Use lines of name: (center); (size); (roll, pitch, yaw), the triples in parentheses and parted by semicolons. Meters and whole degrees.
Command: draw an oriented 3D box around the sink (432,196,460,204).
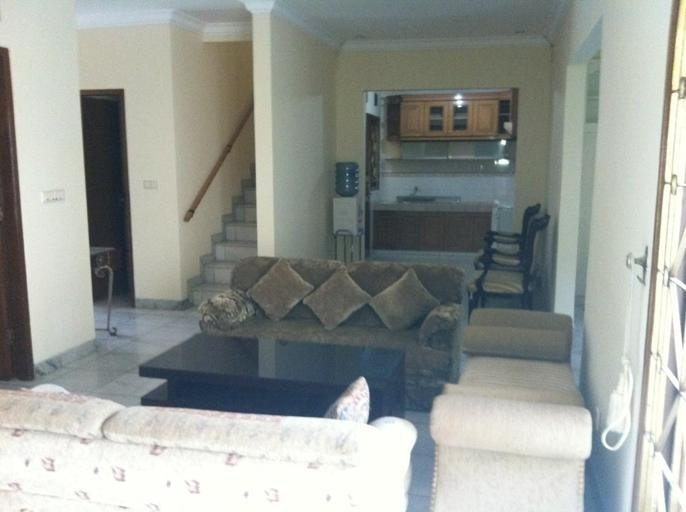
sink: (1.706, -0.916, 9.974); (0.427, 0.091, 0.318); (2, 8, 9)

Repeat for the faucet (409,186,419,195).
faucet: (1.192, -1.089, 10.286); (0.134, 0.167, 0.066); (2, 9, 6)

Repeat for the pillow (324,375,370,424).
pillow: (0.035, 0.561, 2.342); (0.042, 0.180, 0.178); (15, 53, 17)

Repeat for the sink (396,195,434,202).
sink: (1.192, -0.937, 10.191); (0.656, 0.108, 0.185); (4, 8, 18)

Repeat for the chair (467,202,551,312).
chair: (1.649, 0.050, 6.162); (0.647, 1.101, 1.582); (3, 8, 14)

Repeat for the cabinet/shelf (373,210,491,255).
cabinet/shelf: (1.505, -0.446, 10.011); (2.015, 0.929, 0.590); (0, 14, -14)

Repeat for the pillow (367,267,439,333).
pillow: (0.429, 0.313, 4.360); (0.463, 0.408, 0.228); (-1, 9, -12)

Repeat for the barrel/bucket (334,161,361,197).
barrel/bucket: (0.058, -0.914, 7.365); (0.315, 0.408, 0.223); (-1, 9, -13)
